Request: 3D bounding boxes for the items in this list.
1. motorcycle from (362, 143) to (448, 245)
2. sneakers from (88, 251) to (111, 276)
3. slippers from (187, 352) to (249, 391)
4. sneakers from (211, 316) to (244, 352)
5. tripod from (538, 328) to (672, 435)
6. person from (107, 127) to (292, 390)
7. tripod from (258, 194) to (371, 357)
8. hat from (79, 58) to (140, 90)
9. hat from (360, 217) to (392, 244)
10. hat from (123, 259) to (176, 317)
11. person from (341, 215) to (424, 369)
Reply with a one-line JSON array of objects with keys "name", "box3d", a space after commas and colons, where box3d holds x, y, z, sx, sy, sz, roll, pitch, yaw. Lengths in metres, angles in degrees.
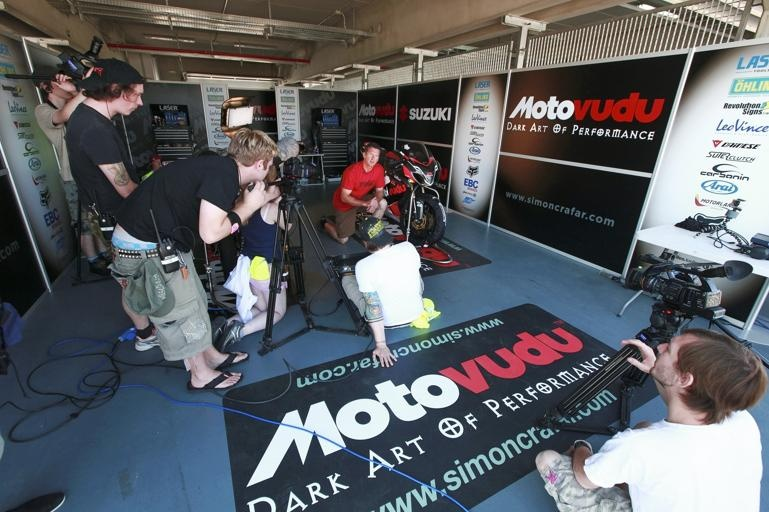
[{"name": "motorcycle", "box3d": [0.277, -1.057, 6.822, 0.809, 1.264, 2.151, -14, 23, -19]}, {"name": "sneakers", "box3d": [-3.430, 0.097, 5.492, 0.415, 0.161, 0.138, 15, 27, 1]}, {"name": "slippers", "box3d": [-1.513, 1.043, 4.108, 0.400, 0.073, 0.385, -1, 24, -20]}, {"name": "sneakers", "box3d": [-1.483, 0.739, 4.443, 0.206, 0.156, 0.378, 38, 84, 27]}, {"name": "tripod", "box3d": [1.815, 1.089, 3.831, 1.026, 0.426, 0.767, -23, 38, 7]}, {"name": "person", "box3d": [-1.559, 0.076, 3.906, 1.320, 2.192, 0.645, -12, 27, -27]}, {"name": "tripod", "box3d": [-0.736, 0.254, 4.823, 1.253, 1.530, 1.128, -10, 41, -10]}, {"name": "hat", "box3d": [-2.360, -1.556, 3.945, 0.428, 0.230, 0.292, -6, 33, -25]}, {"name": "hat", "box3d": [-0.072, -0.211, 4.122, 0.300, 0.167, 0.186, 37, 76, 22]}, {"name": "hat", "box3d": [-1.929, 0.271, 3.854, 0.403, 0.487, 0.236, -5, 7, 0]}, {"name": "person", "box3d": [0.030, 0.273, 4.236, 0.760, 1.090, 1.332, -10, 50, -10]}]
